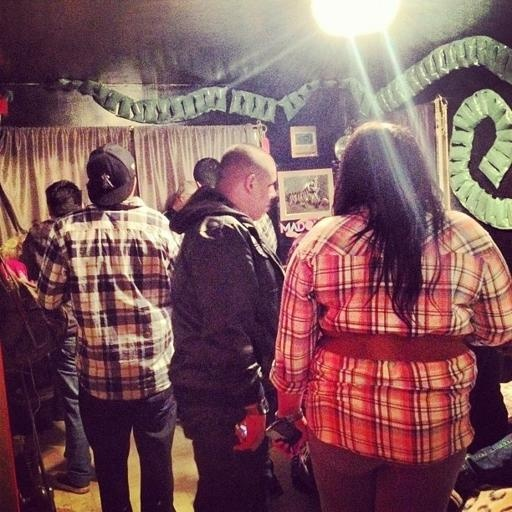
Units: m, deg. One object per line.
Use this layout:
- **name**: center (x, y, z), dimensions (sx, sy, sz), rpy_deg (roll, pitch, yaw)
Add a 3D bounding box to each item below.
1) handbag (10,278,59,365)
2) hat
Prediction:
- **handbag**: center (-0.939, 0.269, 2.155), dimensions (0.149, 0.333, 0.287), rpy_deg (-17, 20, -38)
- **hat**: center (-0.591, -0.352, 2.048), dimensions (0.188, 0.307, 0.150), rpy_deg (1, -24, -8)
